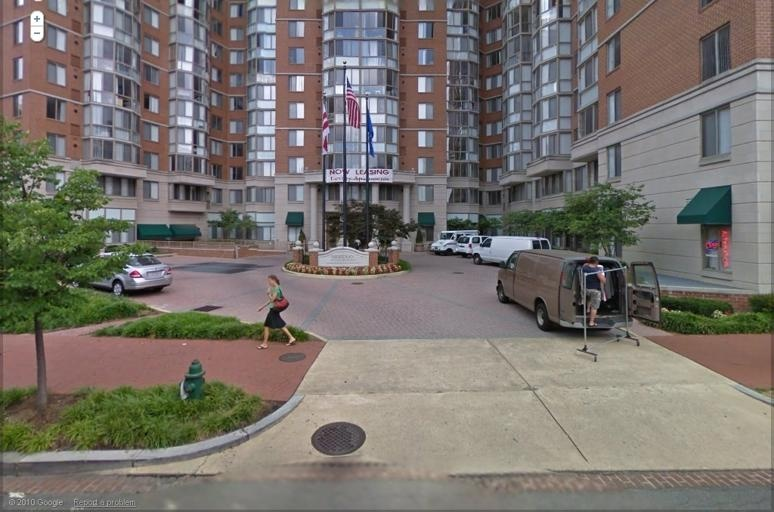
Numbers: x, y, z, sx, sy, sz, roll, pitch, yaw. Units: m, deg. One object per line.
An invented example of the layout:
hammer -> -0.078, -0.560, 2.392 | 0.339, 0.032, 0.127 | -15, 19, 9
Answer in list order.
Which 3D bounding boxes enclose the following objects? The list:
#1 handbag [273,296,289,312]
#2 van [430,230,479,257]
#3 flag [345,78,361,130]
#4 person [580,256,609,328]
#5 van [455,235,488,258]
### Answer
handbag -> -3.876, 1.754, 22.752 | 0.435, 0.525, 0.323 | 1, 3, 6
van -> 5.605, -1.048, 50.465 | 3.266, 1.654, 2.166 | 0, 0, -24
flag -> -2.074, -9.108, 37.113 | 0.864, 2.739, 2.113 | 0, 3, -4
person -> 7.574, 1.269, 22.852 | 1.088, 2.567, 0.809 | 0, 3, -6
van -> 6.040, -0.822, 46.429 | 2.140, 1.038, 1.260 | -6, 7, -21
